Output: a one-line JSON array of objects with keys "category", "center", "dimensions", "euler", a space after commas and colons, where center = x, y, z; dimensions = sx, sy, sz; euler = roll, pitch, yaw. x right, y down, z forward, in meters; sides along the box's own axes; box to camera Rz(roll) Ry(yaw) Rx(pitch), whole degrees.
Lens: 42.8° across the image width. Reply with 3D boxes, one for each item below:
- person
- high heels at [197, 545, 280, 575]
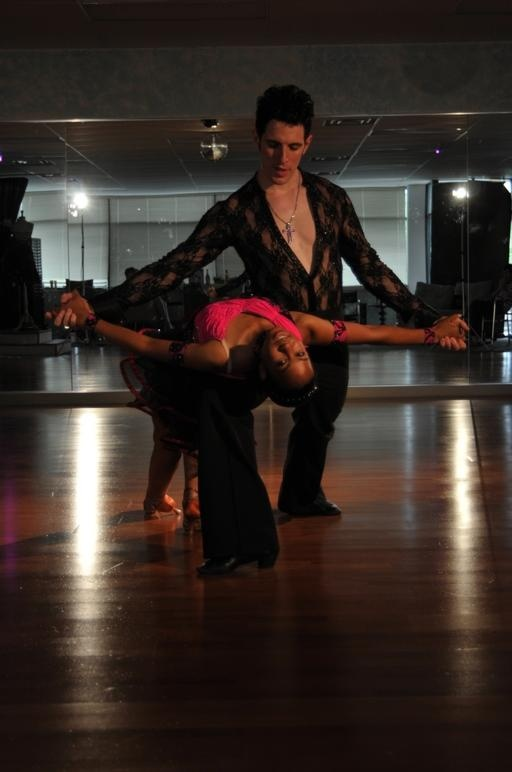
[{"category": "person", "center": [-0.003, -0.148, 1.815], "dimensions": [1.067, 1.245, 0.637], "euler": [-3, 2, -26]}, {"category": "high heels", "center": [-0.048, 0.455, 1.667], "dimensions": [0.197, 0.053, 0.103], "euler": [-3, 3, -40]}]
